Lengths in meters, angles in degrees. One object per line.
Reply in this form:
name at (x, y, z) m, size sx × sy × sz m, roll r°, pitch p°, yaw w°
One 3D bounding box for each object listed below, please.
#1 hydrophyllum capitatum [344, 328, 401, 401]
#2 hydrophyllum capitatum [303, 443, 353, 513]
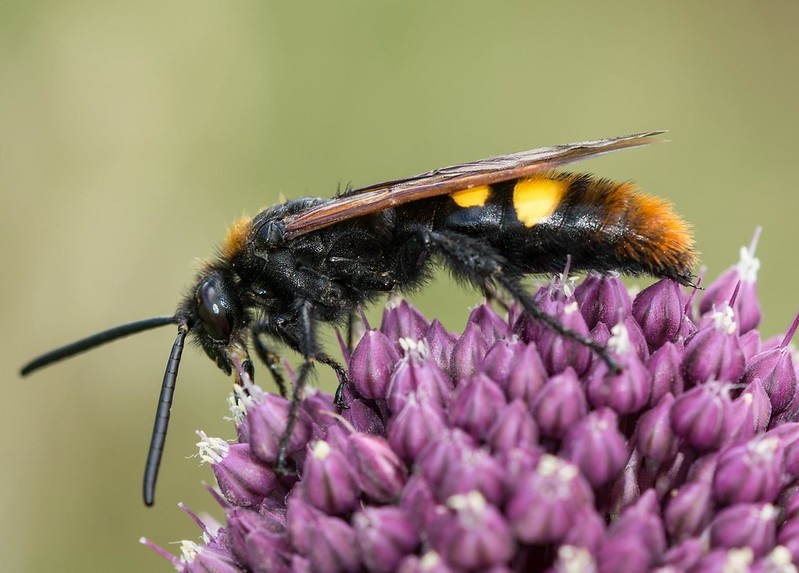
hydrophyllum capitatum at (-0.079, 0.288, 2.756) m, size 0.219 × 0.316 × 0.209 m, roll 2°, pitch -13°, yaw -5°
hydrophyllum capitatum at (-0.204, 0.561, 2.301) m, size 0.156 × 0.206 × 0.119 m, roll -3°, pitch -13°, yaw -9°
